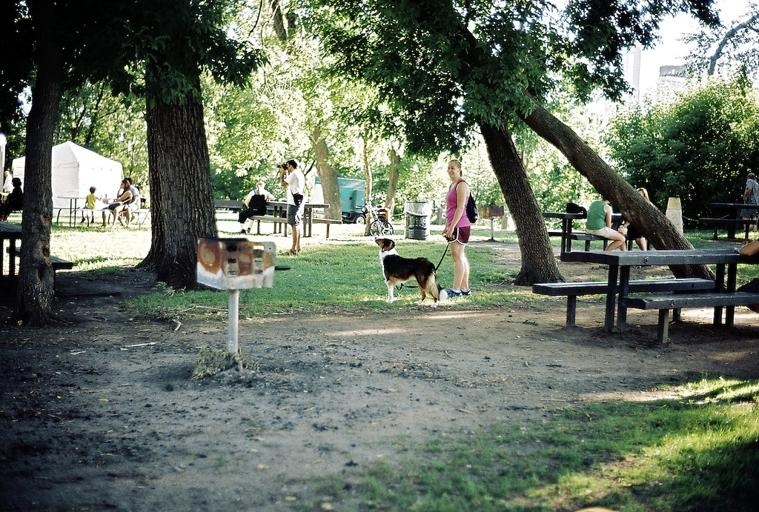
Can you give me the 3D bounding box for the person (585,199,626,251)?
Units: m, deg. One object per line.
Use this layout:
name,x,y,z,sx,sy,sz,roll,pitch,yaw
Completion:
person,5.757,-0.733,17.168,1.338,1.294,0.868,-7,16,-35

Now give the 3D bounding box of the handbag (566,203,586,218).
handbag,5.700,-1.331,19.687,0.594,0.243,0.427,12,0,-27

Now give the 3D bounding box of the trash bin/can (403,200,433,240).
trash bin/can,1.423,-1.354,26.111,1.330,1.673,1.272,0,-1,-4

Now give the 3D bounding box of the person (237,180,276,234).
person,-4.238,-1.679,23.735,0.955,1.889,1.026,10,4,-42

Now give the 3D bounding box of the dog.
dog,0.537,0.296,12.342,0.846,1.209,1.370,-10,18,-41

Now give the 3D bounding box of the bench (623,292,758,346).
bench,4.704,0.825,10.540,2.080,0.797,1.055,0,13,-9

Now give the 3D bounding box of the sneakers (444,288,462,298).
sneakers,1.404,0.687,12.942,0.414,0.176,0.149,4,7,1

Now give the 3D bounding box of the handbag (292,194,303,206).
handbag,-2.159,-1.528,18.291,0.255,0.251,0.306,1,-2,-5

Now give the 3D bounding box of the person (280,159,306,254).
person,-2.350,-1.360,18.645,0.940,2.592,0.753,5,-4,-42

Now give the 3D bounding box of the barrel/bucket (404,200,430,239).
barrel/bucket,1.458,-1.338,25.561,0.877,1.328,1.018,2,13,-1
